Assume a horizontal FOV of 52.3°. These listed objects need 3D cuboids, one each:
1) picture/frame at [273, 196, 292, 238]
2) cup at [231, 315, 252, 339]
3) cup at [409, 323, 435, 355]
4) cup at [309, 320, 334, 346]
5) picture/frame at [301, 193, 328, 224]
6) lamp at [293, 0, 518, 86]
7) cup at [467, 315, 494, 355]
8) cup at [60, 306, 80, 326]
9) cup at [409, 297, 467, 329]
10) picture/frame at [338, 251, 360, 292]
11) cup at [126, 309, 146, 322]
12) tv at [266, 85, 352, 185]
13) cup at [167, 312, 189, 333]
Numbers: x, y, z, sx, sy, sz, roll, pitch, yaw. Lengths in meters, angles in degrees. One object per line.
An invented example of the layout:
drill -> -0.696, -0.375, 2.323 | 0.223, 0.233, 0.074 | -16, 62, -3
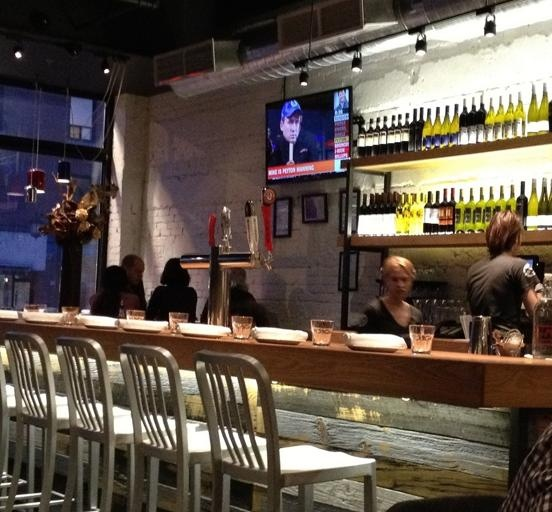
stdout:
picture/frame -> 0.066, -0.367, 5.421 | 0.066, 0.389, 0.249 | -1, 2, -42
cup -> -0.127, 0.272, 2.144 | 0.069, 0.095, 0.075 | 0, -3, 0
cup -> 0.455, 0.263, 1.759 | 0.078, 0.104, 0.080 | 0, -10, 0
cup -> 0.157, 0.268, 1.937 | 0.074, 0.099, 0.090 | 1, -8, 0
picture/frame -> 0.361, -0.436, 5.146 | 0.234, 0.269, 0.027 | -2, -2, 40
lamp -> 0.887, -1.536, 4.177 | 1.674, 0.341, 0.628 | 2, 2, 33
cup -> 0.677, 0.261, 1.876 | 0.073, 0.122, 0.134 | 0, 2, -4
cup -> -1.042, 0.310, 2.885 | 0.086, 0.105, 0.091 | 0, -6, 0
cup -> 1.096, 0.371, 3.793 | 0.225, 0.198, 0.212 | 1, -5, 0
picture/frame -> 0.607, 0.136, 4.645 | 0.020, 0.495, 0.295 | 0, 1, -29
cup -> -0.652, 0.268, 2.596 | 0.062, 0.059, 0.067 | 2, -2, 0
tv -> 0.328, -1.091, 5.119 | 0.088, 0.825, 0.885 | 5, -5, -43
cup -> -0.410, 0.285, 2.360 | 0.073, 0.084, 0.115 | 0, 2, -13
